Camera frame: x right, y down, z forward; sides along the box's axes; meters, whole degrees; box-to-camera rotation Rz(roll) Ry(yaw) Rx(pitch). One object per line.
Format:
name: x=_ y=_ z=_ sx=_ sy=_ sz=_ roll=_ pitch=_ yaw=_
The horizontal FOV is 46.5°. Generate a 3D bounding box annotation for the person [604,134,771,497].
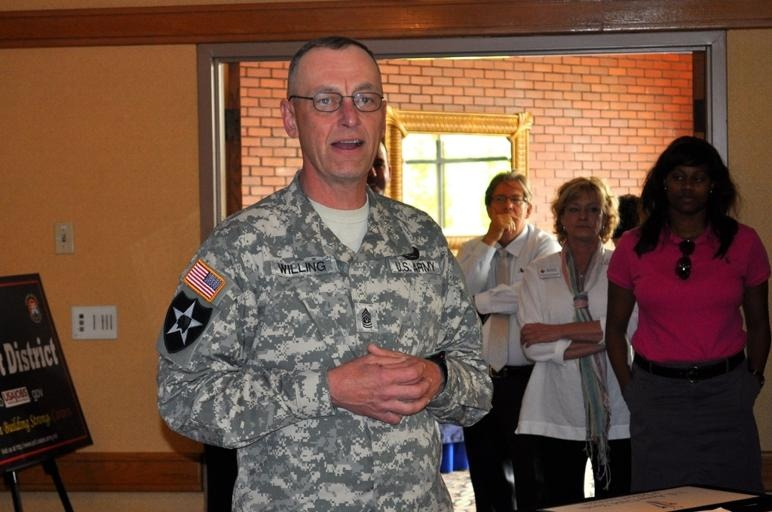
person: x=1.519 y=0.284 z=4.530 sx=0.819 sy=1.760 sz=0.462 roll=-3 pitch=5 yaw=12

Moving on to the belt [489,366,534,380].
belt: x=0.721 y=0.661 z=5.095 sx=0.227 sy=0.052 sz=0.220 roll=-1 pitch=5 yaw=11

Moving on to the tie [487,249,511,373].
tie: x=0.642 y=0.365 z=5.151 sx=0.165 sy=0.852 sz=0.012 roll=-5 pitch=30 yaw=-2

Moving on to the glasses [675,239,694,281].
glasses: x=1.479 y=0.017 z=4.482 sx=0.079 sy=0.207 sz=0.038 roll=5 pitch=-24 yaw=28

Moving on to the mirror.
mirror: x=0.674 y=-0.774 z=8.028 sx=1.719 sy=1.690 sz=0.127 roll=0 pitch=4 yaw=-11
